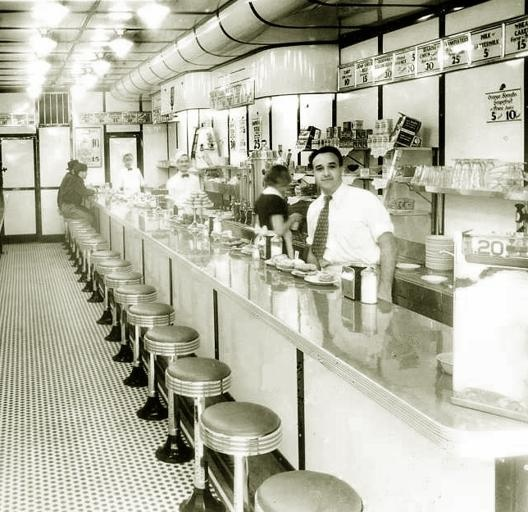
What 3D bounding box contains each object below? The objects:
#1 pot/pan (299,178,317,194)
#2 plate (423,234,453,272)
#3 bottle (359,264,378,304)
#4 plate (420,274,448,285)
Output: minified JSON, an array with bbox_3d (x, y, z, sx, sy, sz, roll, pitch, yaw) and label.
[{"bbox_3d":[0.454,-0.748,6.249,0.116,0.243,0.219,0,1,-6],"label":"pot/pan"},{"bbox_3d":[1.262,-0.046,4.200,0.233,0.299,0.263,-1,7,1],"label":"plate"},{"bbox_3d":[0.445,0.135,2.489,0.104,0.203,0.118,0,2,1],"label":"bottle"},{"bbox_3d":[1.201,0.167,4.043,0.186,0.038,0.175,1,9,7],"label":"plate"}]
